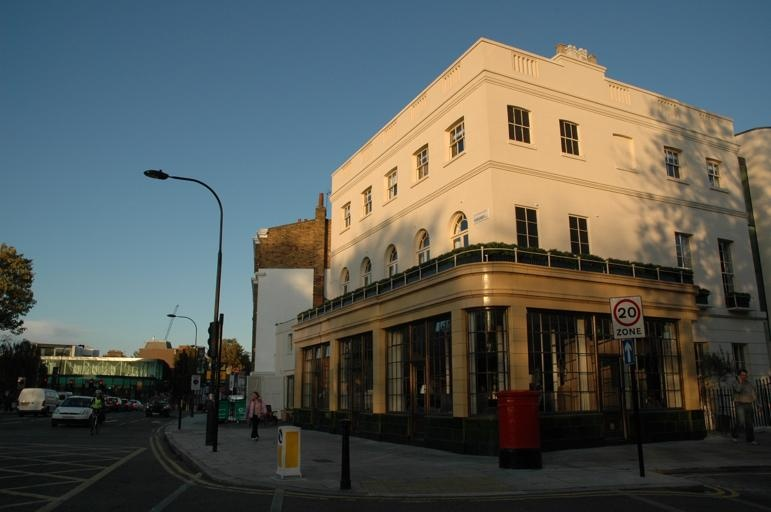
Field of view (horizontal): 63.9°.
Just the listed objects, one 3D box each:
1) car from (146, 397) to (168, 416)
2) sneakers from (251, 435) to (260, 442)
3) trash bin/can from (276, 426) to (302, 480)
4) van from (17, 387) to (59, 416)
[{"bbox_3d":[-22.255,14.612,60.535,2.050,1.758,3.539,5,-21,-17],"label":"car"},{"bbox_3d":[-6.113,8.538,28.889,0.170,0.236,0.548,6,-29,-17],"label":"sneakers"},{"bbox_3d":[-3.046,6.145,19.484,0.737,1.537,0.725,2,-17,-6],"label":"trash bin/can"},{"bbox_3d":[-29.460,12.512,53.291,2.374,2.012,4.109,-1,-6,5],"label":"van"}]
